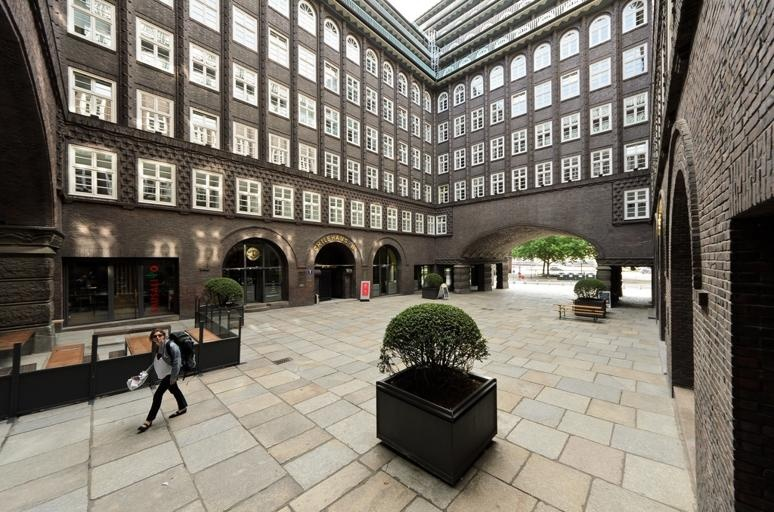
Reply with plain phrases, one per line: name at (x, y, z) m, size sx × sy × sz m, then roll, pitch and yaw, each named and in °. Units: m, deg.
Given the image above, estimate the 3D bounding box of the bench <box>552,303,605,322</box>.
bench at (9.291, 2.652, 19.488) m, size 1.940 × 0.555 × 1.946 m, roll -3°, pitch -3°, yaw 25°

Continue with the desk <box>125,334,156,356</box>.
desk at (-7.435, 2.695, 12.345) m, size 0.783 × 0.272 × 1.194 m, roll -4°, pitch 11°, yaw -36°

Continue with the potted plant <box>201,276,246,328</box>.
potted plant at (-6.605, 1.552, 16.511) m, size 1.279 × 1.395 × 2.617 m, roll -1°, pitch -3°, yaw -24°

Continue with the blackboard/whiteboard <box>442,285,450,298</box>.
blackboard/whiteboard at (4.077, 2.485, 28.252) m, size 0.322 × 0.824 × 0.888 m, roll -8°, pitch -8°, yaw 27°

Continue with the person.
person at (-5.529, 2.997, 10.097) m, size 0.974 × 2.387 × 0.897 m, roll -1°, pitch -2°, yaw -24°

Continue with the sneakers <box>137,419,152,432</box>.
sneakers at (-5.814, 4.067, 9.751) m, size 0.300 × 0.259 × 0.221 m, roll -1°, pitch -3°, yaw -29°
